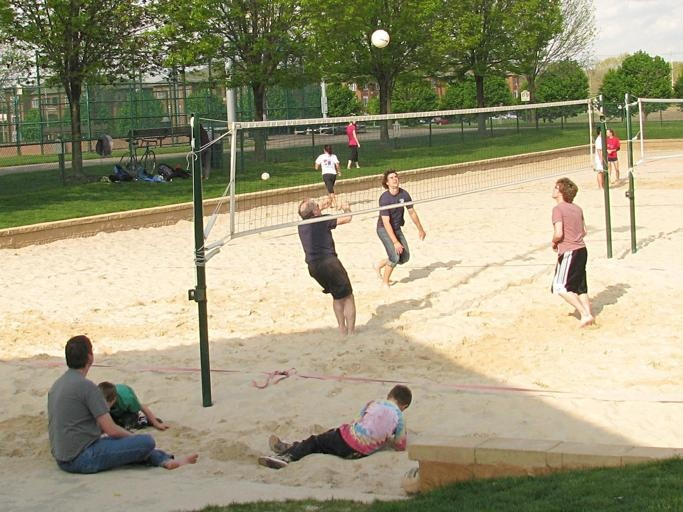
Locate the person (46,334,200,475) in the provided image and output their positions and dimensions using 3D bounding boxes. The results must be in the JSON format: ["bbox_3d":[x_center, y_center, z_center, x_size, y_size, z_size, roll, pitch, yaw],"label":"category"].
[{"bbox_3d":[-2.222,1.381,7.916,1.466,1.353,1.089,-2,7,-35],"label":"person"}]

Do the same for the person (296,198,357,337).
[{"bbox_3d":[-0.180,0.170,10.379,0.649,1.840,1.001,-3,6,15],"label":"person"}]

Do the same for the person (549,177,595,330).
[{"bbox_3d":[3.033,-0.043,10.426,0.525,1.934,0.430,-4,6,1],"label":"person"}]

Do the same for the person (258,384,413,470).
[{"bbox_3d":[0.040,1.709,7.730,1.545,0.486,0.629,-14,20,-25],"label":"person"}]

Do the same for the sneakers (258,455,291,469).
[{"bbox_3d":[-0.644,1.953,7.464,0.223,0.069,0.125,8,-5,-2],"label":"sneakers"}]
